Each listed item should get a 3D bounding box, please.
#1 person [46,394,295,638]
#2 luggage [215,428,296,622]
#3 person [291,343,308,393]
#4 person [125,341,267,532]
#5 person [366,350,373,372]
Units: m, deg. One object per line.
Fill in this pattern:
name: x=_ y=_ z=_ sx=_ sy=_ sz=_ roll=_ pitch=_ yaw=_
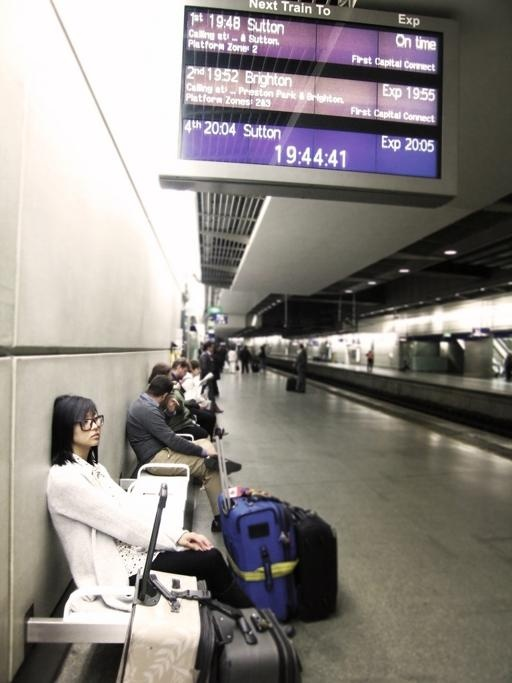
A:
person: x=-0.426 y=0.785 z=2.086 sx=0.795 sy=1.239 sz=0.410 roll=-7 pitch=5 yaw=4
luggage: x=-0.013 y=0.963 z=2.572 sx=0.286 sy=0.921 sz=0.531 roll=-9 pitch=6 yaw=-9
person: x=1.470 y=0.887 z=15.889 sx=0.362 sy=1.660 sz=1.601 roll=1 pitch=3 yaw=5
person: x=-0.601 y=0.713 z=4.425 sx=1.263 sy=2.236 sz=0.689 roll=-4 pitch=6 yaw=-11
person: x=4.399 y=0.740 z=18.434 sx=0.184 sy=0.831 sz=0.673 roll=0 pitch=3 yaw=-9
